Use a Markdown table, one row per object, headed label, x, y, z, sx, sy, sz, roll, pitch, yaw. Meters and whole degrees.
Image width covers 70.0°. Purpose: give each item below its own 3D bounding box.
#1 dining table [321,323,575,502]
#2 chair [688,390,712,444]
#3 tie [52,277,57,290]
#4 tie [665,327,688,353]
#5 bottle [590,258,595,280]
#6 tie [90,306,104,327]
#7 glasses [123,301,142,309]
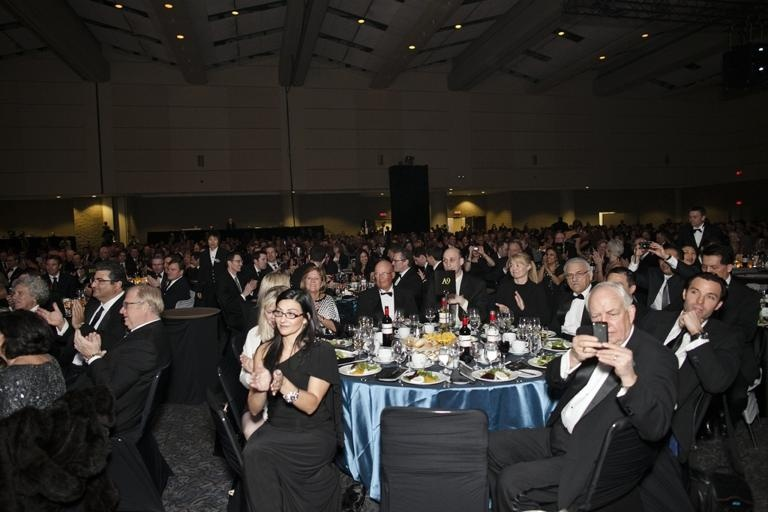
| label | x | y | z | sx | sy | sz | roll | pitch | yaw |
| --- | --- | --- | --- | --- | --- | --- | --- | --- | --- |
| dining table | 0.593 | 1.863 | 5.809 | 2.067 | 0.989 | 2.264 | 2 | -11 | -10 |
| chair | 2.936 | 1.473 | 5.071 | 0.143 | 0.473 | 0.303 | 1 | 4 | 31 |
| tie | -5.487 | 0.445 | 9.162 | 0.087 | 0.171 | 0.038 | -4 | -13 | -20 |
| tie | 2.888 | 0.810 | 5.416 | 0.142 | 0.227 | 0.218 | 0 | 4 | 16 |
| bottle | 3.123 | 0.195 | 8.213 | 0.115 | 0.358 | 0.252 | 0 | -2 | 21 |
| tie | -3.257 | 0.696 | 6.230 | 0.044 | 0.216 | 0.056 | 21 | -24 | 8 |
| glasses | -2.441 | 0.475 | 5.327 | 0.184 | 0.054 | 0.052 | 0 | 4 | 11 |
